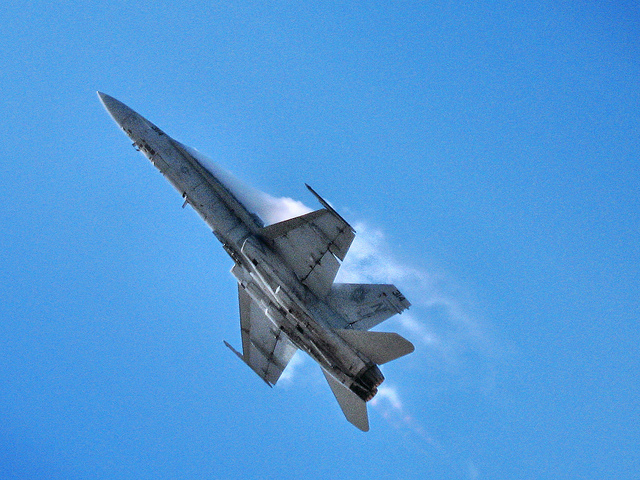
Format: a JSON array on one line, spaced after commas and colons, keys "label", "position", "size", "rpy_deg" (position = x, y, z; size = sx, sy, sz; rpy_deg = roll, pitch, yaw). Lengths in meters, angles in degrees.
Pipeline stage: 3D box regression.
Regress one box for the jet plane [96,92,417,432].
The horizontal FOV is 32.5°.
[{"label": "jet plane", "position": [-2.772, -0.551, 46.894], "size": [3.582, 17.000, 10.713], "rpy_deg": [-37, -14, -38]}]
